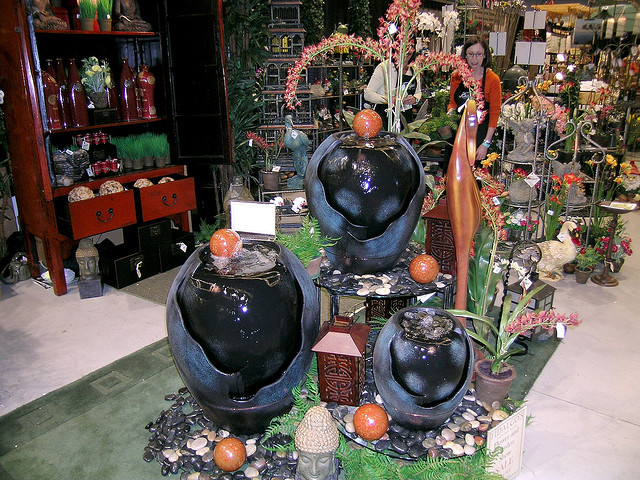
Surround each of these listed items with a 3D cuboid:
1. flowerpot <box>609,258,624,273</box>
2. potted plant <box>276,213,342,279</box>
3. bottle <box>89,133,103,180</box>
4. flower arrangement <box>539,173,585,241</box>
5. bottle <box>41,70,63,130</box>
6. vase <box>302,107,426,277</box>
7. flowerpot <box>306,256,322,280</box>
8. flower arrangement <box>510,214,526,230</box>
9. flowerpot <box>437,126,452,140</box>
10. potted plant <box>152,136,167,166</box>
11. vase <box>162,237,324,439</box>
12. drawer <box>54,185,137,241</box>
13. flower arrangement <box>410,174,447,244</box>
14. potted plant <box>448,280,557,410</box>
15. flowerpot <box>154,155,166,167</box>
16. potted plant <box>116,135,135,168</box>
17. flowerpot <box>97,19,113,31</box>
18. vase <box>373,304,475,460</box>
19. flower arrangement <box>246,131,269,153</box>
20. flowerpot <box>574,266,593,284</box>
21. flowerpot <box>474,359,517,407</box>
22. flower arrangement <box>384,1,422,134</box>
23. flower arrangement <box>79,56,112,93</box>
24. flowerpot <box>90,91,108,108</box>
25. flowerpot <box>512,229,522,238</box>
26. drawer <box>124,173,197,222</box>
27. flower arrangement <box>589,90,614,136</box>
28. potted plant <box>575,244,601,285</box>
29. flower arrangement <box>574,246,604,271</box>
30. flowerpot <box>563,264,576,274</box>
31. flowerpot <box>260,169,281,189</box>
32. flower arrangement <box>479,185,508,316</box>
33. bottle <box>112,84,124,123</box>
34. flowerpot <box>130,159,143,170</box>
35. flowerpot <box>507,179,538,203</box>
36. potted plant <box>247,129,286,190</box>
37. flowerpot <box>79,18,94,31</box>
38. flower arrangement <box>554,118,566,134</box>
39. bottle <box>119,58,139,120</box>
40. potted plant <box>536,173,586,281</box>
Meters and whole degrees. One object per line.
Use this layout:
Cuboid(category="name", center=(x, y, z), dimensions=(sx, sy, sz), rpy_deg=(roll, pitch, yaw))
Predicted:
Cuboid(category="flowerpot", center=(2.567, 0.212, 3.932), dimensions=(0.112, 0.095, 0.112), rpy_deg=(3, 10, 29))
Cuboid(category="potted plant", center=(-0.047, 0.019, 2.430), dimensions=(0.298, 0.227, 0.328), rpy_deg=(6, 9, 37))
Cuboid(category="bottle", center=(-1.926, -0.731, 3.904), dimensions=(0.107, 0.351, 0.211), rpy_deg=(-10, 21, -23))
Cuboid(category="flower arrangement", center=(2.003, -0.258, 3.900), dimensions=(0.278, 0.481, 0.319), rpy_deg=(-4, 23, 2))
Cuboid(category="bottle", center=(-2.098, -1.100, 3.567), dimensions=(0.118, 0.420, 0.221), rpy_deg=(-11, 22, -25))
Cuboid(category="vase", center=(0.268, -0.283, 2.506), dimensions=(0.686, 0.886, 0.716), rpy_deg=(6, 22, 17))
Cuboid(category="flowerpot", center=(-0.029, 0.144, 2.357), dimensions=(0.086, 0.078, 0.098), rpy_deg=(1, 6, 4))
Cuboid(category="flower arrangement", center=(1.500, -0.130, 3.441), dimensions=(0.150, 0.062, 0.253), rpy_deg=(6, 22, 21))
Cuboid(category="flowerpot", center=(1.204, -1.034, 4.327), dimensions=(0.106, 0.129, 0.124), rpy_deg=(-30, 28, 16))
Cuboid(category="potted plant", center=(-1.483, -0.842, 4.256), dimensions=(0.054, 0.263, 0.132), rpy_deg=(16, 26, 40))
Cuboid(category="vase", center=(-0.243, 0.493, 2.126), dimensions=(0.601, 0.745, 0.661), rpy_deg=(4, 13, 44))
Cuboid(category="drawer", center=(-1.825, -0.239, 3.780), dimensions=(0.483, 0.285, 0.363), rpy_deg=(-19, 17, -34))
Cuboid(category="flower arrangement", center=(0.695, -0.215, 2.895), dimensions=(0.185, 0.419, 0.918), rpy_deg=(4, 20, 14))
Cuboid(category="potted plant", center=(0.875, 0.556, 2.242), dimensions=(0.399, 0.489, 0.430), rpy_deg=(12, -2, 34))
Cuboid(category="flowerpot", center=(-1.488, -0.744, 4.251), dimensions=(0.082, 0.064, 0.081), rpy_deg=(-1, 6, -18))
Cuboid(category="potted plant", center=(-1.755, -0.798, 4.121), dimensions=(0.116, 0.254, 0.153), rpy_deg=(-13, 23, -29))
Cuboid(category="flowerpot", center=(-1.808, -1.825, 3.821), dimensions=(0.097, 0.076, 0.100), rpy_deg=(2, 11, 3))
Cuboid(category="vase", center=(0.394, 0.591, 2.082), dimensions=(0.490, 0.675, 0.546), rpy_deg=(-1, 6, -6))
Cuboid(category="flower arrangement", center=(-0.609, -0.978, 4.494), dimensions=(0.141, 0.170, 0.412), rpy_deg=(-9, 12, -9))
Cuboid(category="flowerpot", center=(2.189, 0.284, 3.749), dimensions=(0.123, 0.099, 0.126), rpy_deg=(3, 12, 10))
Cuboid(category="flowerpot", center=(0.822, 0.728, 2.205), dimensions=(0.179, 0.142, 0.182), rpy_deg=(17, -4, -26))
Cuboid(category="flower arrangement", center=(0.481, -1.024, 2.670), dimensions=(0.188, 0.741, 0.537), rpy_deg=(2, 20, 11))
Cuboid(category="flower arrangement", center=(-1.897, -1.402, 3.835), dimensions=(0.235, 0.276, 0.267), rpy_deg=(-10, 21, -24))
Cuboid(category="flowerpot", center=(-1.851, -1.188, 3.825), dimensions=(0.128, 0.112, 0.122), rpy_deg=(-11, 36, -24))
Cuboid(category="flowerpot", center=(1.787, -0.065, 4.124), dimensions=(0.073, 0.057, 0.075), rpy_deg=(-2, 12, -13))
Cuboid(category="drawer", center=(-1.427, -0.417, 4.064), dimensions=(0.414, 0.323, 0.607), rpy_deg=(19, 33, 34))
Cuboid(category="flower arrangement", center=(3.264, -1.508, 5.239), dimensions=(0.221, 0.459, 1.012), rpy_deg=(10, 23, 30))
Cuboid(category="potted plant", center=(2.267, 0.205, 3.811), dimensions=(0.190, 0.340, 0.215), rpy_deg=(-4, 1, 10))
Cuboid(category="flower arrangement", center=(2.293, 0.139, 3.849), dimensions=(0.172, 0.148, 0.343), rpy_deg=(15, 25, 40))
Cuboid(category="flowerpot", center=(2.137, 0.243, 3.880), dimensions=(0.075, 0.061, 0.075), rpy_deg=(3, 7, 1))
Cuboid(category="flowerpot", center=(-0.444, -0.543, 4.070), dimensions=(0.147, 0.119, 0.143), rpy_deg=(6, 11, 34))
Cuboid(category="flower arrangement", center=(0.979, 0.053, 2.608), dimensions=(0.153, 0.725, 0.413), rpy_deg=(6, 21, 20))
Cuboid(category="bottle", center=(-1.824, -1.247, 4.107), dimensions=(0.083, 0.314, 0.435), rpy_deg=(-9, 21, -20))
Cuboid(category="flowerpot", center=(-1.658, -0.696, 4.121), dimensions=(0.083, 0.067, 0.085), rpy_deg=(0, 8, -2))
Cuboid(category="flowerpot", center=(1.766, -0.428, 3.997), dimensions=(0.259, 0.227, 0.094), rpy_deg=(-9, 3, 8))
Cuboid(category="potted plant", center=(-0.500, -0.775, 4.384), dimensions=(0.342, 0.555, 0.211), rpy_deg=(-1, 20, 16))
Cuboid(category="flowerpot", center=(-1.895, -1.763, 3.728), dimensions=(0.112, 0.089, 0.115), rpy_deg=(2, 20, 3))
Cuboid(category="flower arrangement", center=(2.336, -1.112, 4.407), dimensions=(0.089, 0.163, 0.244), rpy_deg=(8, 22, 26))
Cuboid(category="bottle", center=(-1.736, -1.364, 4.087), dimensions=(0.153, 0.513, 0.136), rpy_deg=(-9, 21, -21))
Cuboid(category="potted plant", center=(2.053, -0.147, 3.852), dimensions=(0.297, 0.867, 0.750), rpy_deg=(10, 22, 29))
